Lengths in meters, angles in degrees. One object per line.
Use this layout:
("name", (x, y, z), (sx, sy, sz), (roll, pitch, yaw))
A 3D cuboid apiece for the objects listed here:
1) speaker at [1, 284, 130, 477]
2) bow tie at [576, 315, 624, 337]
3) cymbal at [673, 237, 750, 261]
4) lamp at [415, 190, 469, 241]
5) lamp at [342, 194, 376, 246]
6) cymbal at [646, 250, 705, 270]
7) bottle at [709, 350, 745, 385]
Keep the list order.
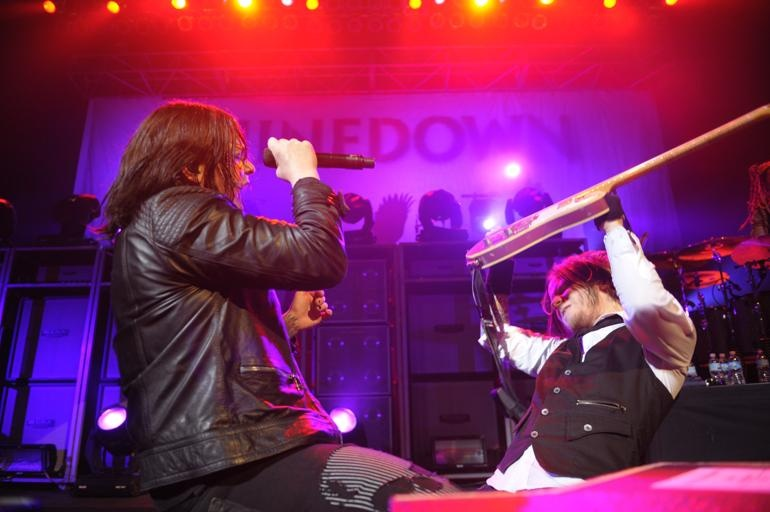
("speaker", (-3.151, 1.159, 5.613), (0.970, 1.796, 0.469), (-1, -6, -1))
("bow tie", (1.176, 0.360, 2.983), (0.157, 0.084, 0.090), (-27, -6, 12))
("cymbal", (2.918, -0.062, 4.958), (0.288, 0.071, 0.297), (-6, -18, 8))
("lamp", (0.580, -0.432, 5.890), (0.519, 0.574, 0.530), (0, -2, -28))
("lamp", (-0.314, -0.387, 5.768), (0.375, 0.532, 0.292), (1, 2, -14))
("cymbal", (2.811, 0.036, 5.268), (0.375, 0.101, 0.385), (2, -17, -6))
("bottle", (2.936, 0.962, 4.740), (0.294, 0.421, 0.144), (-4, 8, 39))
